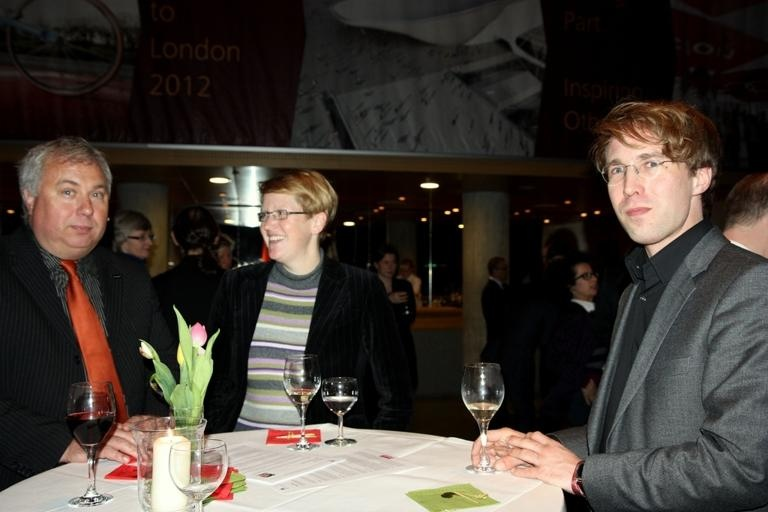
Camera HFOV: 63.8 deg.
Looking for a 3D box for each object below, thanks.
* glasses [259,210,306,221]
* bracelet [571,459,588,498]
[{"bbox_3d":[-0.582,-0.218,3.353,0.315,0.074,0.107,3,9,26],"label":"glasses"},{"bbox_3d":[0.750,0.855,2.393,0.048,0.118,0.082,2,9,16],"label":"bracelet"}]
